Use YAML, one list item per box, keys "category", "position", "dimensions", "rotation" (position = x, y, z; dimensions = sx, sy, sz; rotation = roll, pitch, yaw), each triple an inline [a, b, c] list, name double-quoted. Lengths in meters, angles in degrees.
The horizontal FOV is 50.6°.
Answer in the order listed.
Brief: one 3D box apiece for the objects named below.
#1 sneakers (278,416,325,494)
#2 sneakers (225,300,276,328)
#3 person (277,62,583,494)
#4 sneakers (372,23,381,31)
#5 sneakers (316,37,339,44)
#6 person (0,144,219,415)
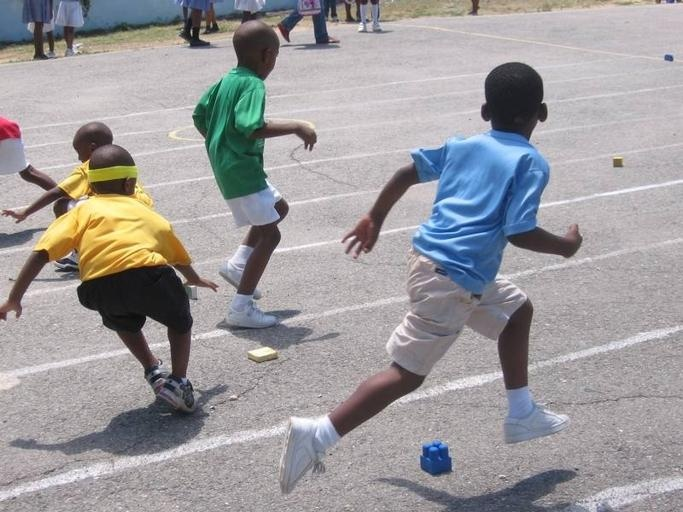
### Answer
- category: "sneakers"
  position: [-0.207, 0.978, 3.685]
  dimensions: [0.291, 0.391, 0.166]
  rotation: [12, 0, -3]
- category: "sneakers"
  position: [-0.707, 0.464, 5.537]
  dimensions: [0.506, 0.147, 0.162]
  rotation: [-1, 12, -13]
- category: "person"
  position: [0.463, 0.108, 3.786]
  dimensions: [1.550, 2.157, 1.126]
  rotation: [-3, 27, -3]
- category: "sneakers"
  position: [1.105, -6.952, 21.991]
  dimensions: [0.195, 0.142, 0.441]
  rotation: [-3, 10, -9]
- category: "sneakers"
  position: [-0.331, -5.908, 19.780]
  dimensions: [0.694, 0.168, 0.197]
  rotation: [-4, 17, -13]
- category: "person"
  position: [-1.301, 0.308, 4.435]
  dimensions: [0.859, 1.335, 0.690]
  rotation: [3, 27, 10]
